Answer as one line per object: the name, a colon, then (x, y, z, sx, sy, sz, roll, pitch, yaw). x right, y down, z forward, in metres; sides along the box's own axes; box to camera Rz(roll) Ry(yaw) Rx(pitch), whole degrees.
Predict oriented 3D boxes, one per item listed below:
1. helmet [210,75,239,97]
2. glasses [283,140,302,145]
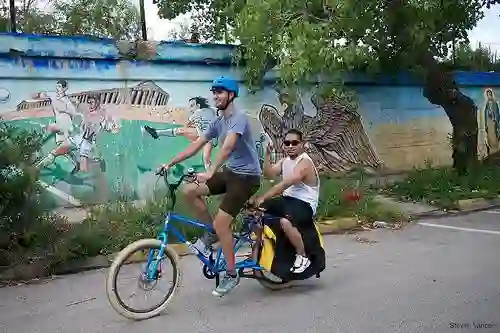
helmet: (-0.446, -1.451, 7.334, 0.443, 0.357, 0.326, -10, 17, -21)
glasses: (0.785, -0.437, 7.523, 0.308, 0.121, 0.137, -4, 3, 10)
